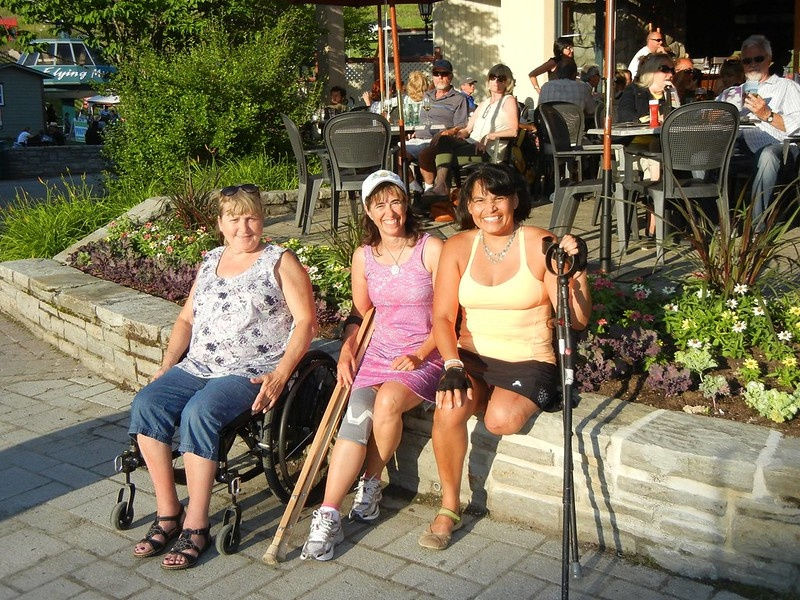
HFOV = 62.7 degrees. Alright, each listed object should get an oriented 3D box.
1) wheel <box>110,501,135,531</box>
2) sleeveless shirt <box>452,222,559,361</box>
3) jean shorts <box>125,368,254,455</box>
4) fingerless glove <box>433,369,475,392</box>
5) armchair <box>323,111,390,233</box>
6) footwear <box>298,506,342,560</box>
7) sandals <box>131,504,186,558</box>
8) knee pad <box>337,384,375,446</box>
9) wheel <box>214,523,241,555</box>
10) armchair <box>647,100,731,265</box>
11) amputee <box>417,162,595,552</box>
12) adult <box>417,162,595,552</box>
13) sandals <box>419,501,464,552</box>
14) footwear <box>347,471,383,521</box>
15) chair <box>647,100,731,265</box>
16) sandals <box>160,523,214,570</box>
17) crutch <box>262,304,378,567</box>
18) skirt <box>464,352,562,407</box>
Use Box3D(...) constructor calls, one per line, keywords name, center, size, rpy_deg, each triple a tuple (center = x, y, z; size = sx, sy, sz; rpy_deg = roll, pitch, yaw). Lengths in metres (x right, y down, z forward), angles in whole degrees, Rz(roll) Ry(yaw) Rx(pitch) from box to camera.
Box3D(name="wheel", center=(-1.392, 1.081, 3.307), size=(0.076, 0.125, 0.112), rpy_deg=(4, -21, 25))
Box3D(name="sleeveless shirt", center=(0.535, -0.041, 3.281), size=(0.580, 0.756, 0.394), rpy_deg=(5, 13, 32))
Box3D(name="jean shorts", center=(-1.015, 0.563, 3.255), size=(0.600, 0.334, 0.399), rpy_deg=(2, 17, 23))
Box3D(name="fingerless glove", center=(0.266, 0.374, 3.141), size=(0.173, 0.105, 0.137), rpy_deg=(-6, 16, -5))
Box3D(name="armchair", center=(-0.433, -1.399, 7.249), size=(0.705, 1.281, 0.928), rpy_deg=(1, 13, 2))
Box3D(name="footwear", center=(-0.358, 1.090, 3.127), size=(0.119, 0.150, 0.303), rpy_deg=(2, -2, 10))
Box3D(name="sandals", center=(-1.153, 1.119, 3.161), size=(0.106, 0.114, 0.264), rpy_deg=(0, 2, 18))
Box3D(name="knee pad", center=(-0.206, 0.568, 3.271), size=(0.154, 0.273, 0.096), rpy_deg=(9, -20, 1))
Box3D(name="wheel", center=(-0.809, 1.126, 3.106), size=(0.067, 0.117, 0.126), rpy_deg=(4, 14, 4))
Box3D(name="armchair", center=(2.541, -0.985, 5.605), size=(0.678, 1.212, 0.870), rpy_deg=(4, -3, 31))
Box3D(name="amputee", center=(0.462, 0.220, 3.227), size=(1.109, 1.747, 0.876), rpy_deg=(-12, 12, -32))
Box3D(name="adult", center=(0.477, 0.217, 3.249), size=(1.081, 1.742, 0.873), rpy_deg=(-12, 13, -36))
Box3D(name="sandals", center=(0.207, 1.092, 3.177), size=(0.105, 0.109, 0.273), rpy_deg=(-2, -3, 22))
Box3D(name="footwear", center=(-0.169, 1.006, 3.341), size=(0.117, 0.119, 0.261), rpy_deg=(2, 1, 11))
Box3D(name="chair", center=(2.549, -0.983, 5.599), size=(0.679, 1.233, 0.870), rpy_deg=(6, -3, 32))
Box3D(name="sandals", center=(-0.985, 1.134, 3.094), size=(0.136, 0.135, 0.310), rpy_deg=(7, 10, 17))
Box3D(name="crutch", center=(-0.406, 0.702, 3.322), size=(0.144, 1.277, 0.190), rpy_deg=(23, -22, 6))
Box3D(name="skirt", center=(0.590, 0.384, 3.306), size=(0.434, 0.180, 0.250), rpy_deg=(4, 26, 30))
